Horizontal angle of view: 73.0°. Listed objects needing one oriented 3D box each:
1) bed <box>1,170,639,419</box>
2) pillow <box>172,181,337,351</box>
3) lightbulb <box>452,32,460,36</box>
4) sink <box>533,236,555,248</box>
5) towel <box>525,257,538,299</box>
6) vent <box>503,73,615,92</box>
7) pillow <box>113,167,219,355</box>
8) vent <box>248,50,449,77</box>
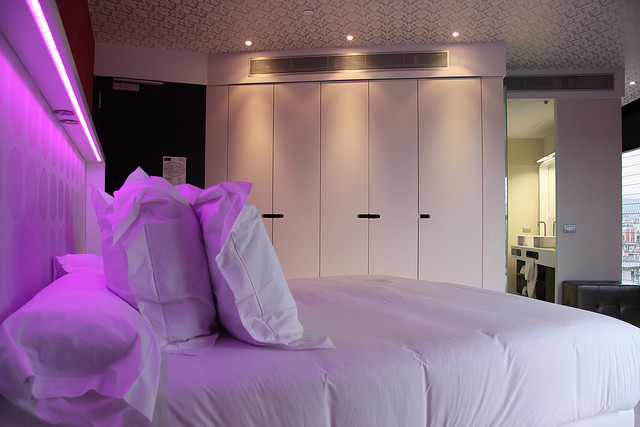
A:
[{"bbox_3d":[0.010,0.393,2.511,1.680,0.657,1.766,0,-2,-9],"label":"bed"},{"bbox_3d":[-0.301,0.239,1.899,0.202,0.714,0.632,-15,-4,25],"label":"pillow"},{"bbox_3d":[1.432,-1.876,4.524,0.065,0.021,0.048,1,9,5],"label":"lightbulb"},{"bbox_3d":[3.125,0.410,6.031,0.153,0.170,0.283,-8,12,-41],"label":"sink"},{"bbox_3d":[3.017,0.897,6.168,0.097,0.722,0.627,5,23,22],"label":"towel"},{"bbox_3d":[2.864,-1.554,5.139,1.245,0.223,0.124,1,9,5],"label":"vent"},{"bbox_3d":[-0.739,0.195,2.061,0.426,0.743,0.764,-3,10,-16],"label":"pillow"},{"bbox_3d":[0.355,-1.656,4.795,2.213,0.270,0.035,-1,-14,2],"label":"vent"}]
